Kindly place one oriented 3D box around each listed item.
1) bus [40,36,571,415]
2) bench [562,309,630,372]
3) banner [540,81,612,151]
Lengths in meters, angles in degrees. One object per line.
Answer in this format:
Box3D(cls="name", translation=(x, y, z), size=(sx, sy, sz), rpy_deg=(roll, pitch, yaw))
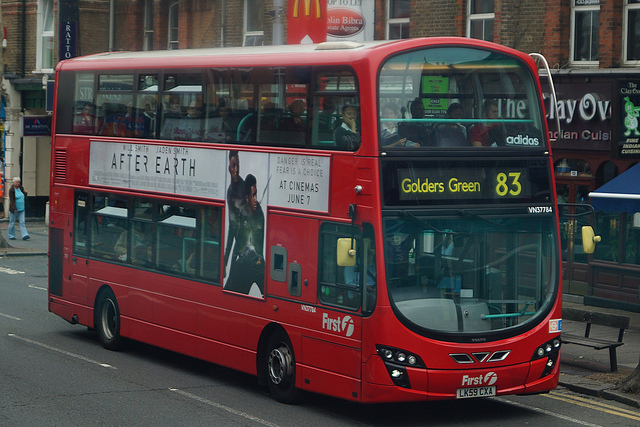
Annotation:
Box3D(cls="bus", translation=(-1.338, -0.288, 17.666), size=(4.562, 6.437, 12.256), rpy_deg=(-2, 4, -38))
Box3D(cls="bench", translation=(5.237, 2.509, 17.358), size=(0.660, 1.049, 2.459), rpy_deg=(2, -1, -18))
Box3D(cls="banner", translation=(6.510, -2.420, 22.150), size=(1.912, 2.104, 1.121), rpy_deg=(0, 7, -7))
